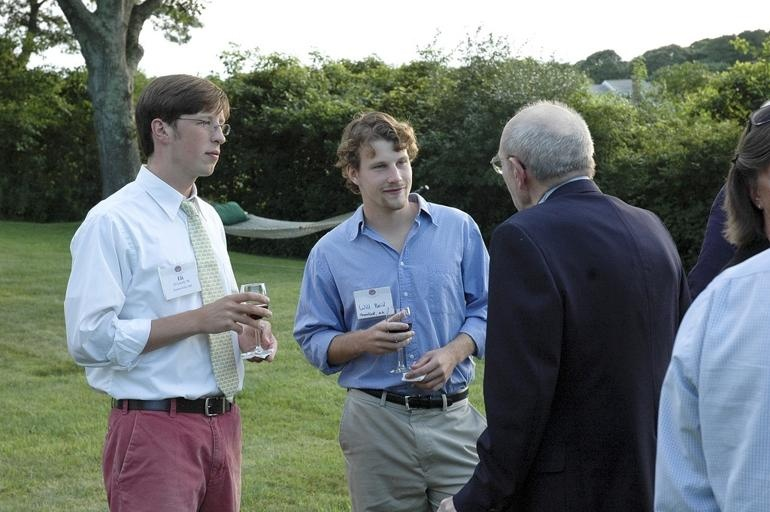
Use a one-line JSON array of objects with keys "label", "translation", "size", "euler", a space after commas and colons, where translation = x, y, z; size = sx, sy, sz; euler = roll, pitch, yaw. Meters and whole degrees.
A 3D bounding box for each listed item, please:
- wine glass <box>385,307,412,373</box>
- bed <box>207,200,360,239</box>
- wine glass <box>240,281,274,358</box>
[{"label": "wine glass", "translation": [0.094, 0.551, 5.645], "size": [0.127, 0.432, 0.189], "euler": [3, 2, 0]}, {"label": "bed", "translation": [-2.119, -0.392, 17.379], "size": [3.599, 0.533, 1.186], "euler": [6, 17, 37]}, {"label": "wine glass", "translation": [-0.799, 0.400, 5.564], "size": [0.185, 0.479, 0.199], "euler": [0, 0, -12]}]
